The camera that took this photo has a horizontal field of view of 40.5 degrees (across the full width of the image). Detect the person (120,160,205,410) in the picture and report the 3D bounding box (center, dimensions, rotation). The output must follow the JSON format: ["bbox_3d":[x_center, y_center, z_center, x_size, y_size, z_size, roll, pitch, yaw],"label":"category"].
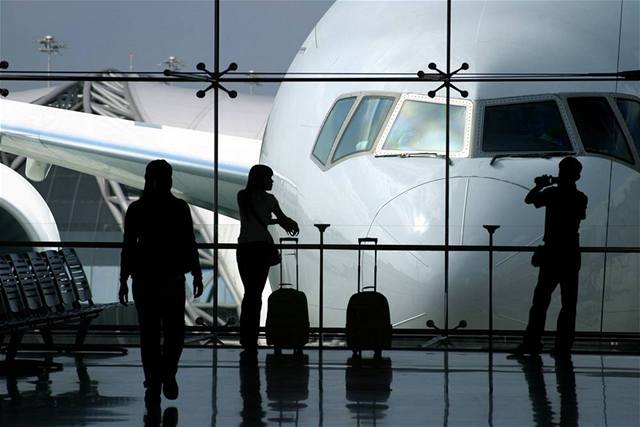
[{"bbox_3d":[-1.608,0.618,8.526,0.722,2.232,0.607,5,12,24],"label":"person"}]

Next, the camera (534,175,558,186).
[{"bbox_3d":[2.599,-0.384,9.982,0.176,0.139,0.330,10,14,41],"label":"camera"}]

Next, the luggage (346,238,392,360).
[{"bbox_3d":[0.593,0.947,10.192,0.527,1.189,1.168,1,11,4],"label":"luggage"}]

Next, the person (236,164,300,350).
[{"bbox_3d":[-0.645,0.522,9.967,0.595,2.133,0.292,0,11,-3],"label":"person"}]
